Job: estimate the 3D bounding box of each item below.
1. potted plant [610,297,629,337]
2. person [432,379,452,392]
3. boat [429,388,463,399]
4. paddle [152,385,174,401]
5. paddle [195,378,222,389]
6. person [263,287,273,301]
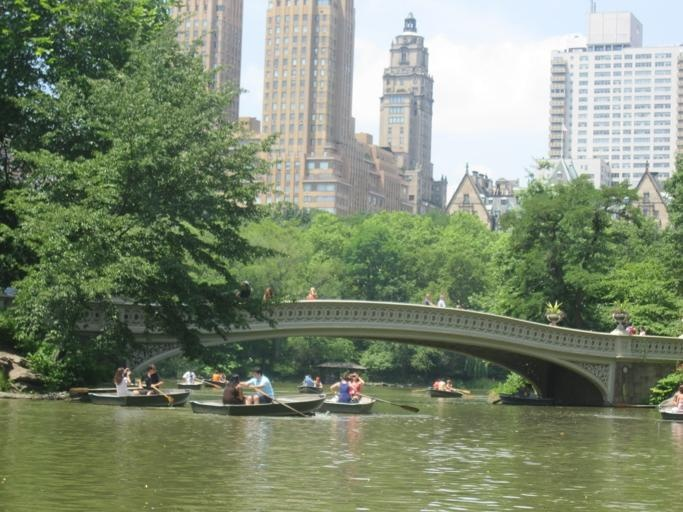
[{"bbox_3d":[14.771,3.239,100.287,0.897,1.765,0.930,-2,-2,-24],"label":"potted plant"},{"bbox_3d":[6.270,7.735,116.923,0.939,0.653,1.299,0,-7,-2],"label":"person"},{"bbox_3d":[6.418,8.373,115.798,2.036,0.541,2.039,12,2,2],"label":"boat"},{"bbox_3d":[-8.754,6.671,93.088,1.277,0.353,0.724,40,4,34],"label":"paddle"},{"bbox_3d":[-7.810,7.564,114.404,1.050,0.613,4.188,3,0,12],"label":"paddle"},{"bbox_3d":[-3.781,1.951,97.450,0.527,1.059,0.561,4,0,-4],"label":"person"}]
